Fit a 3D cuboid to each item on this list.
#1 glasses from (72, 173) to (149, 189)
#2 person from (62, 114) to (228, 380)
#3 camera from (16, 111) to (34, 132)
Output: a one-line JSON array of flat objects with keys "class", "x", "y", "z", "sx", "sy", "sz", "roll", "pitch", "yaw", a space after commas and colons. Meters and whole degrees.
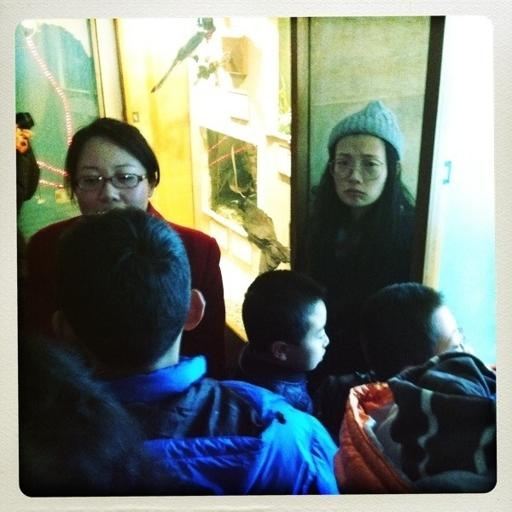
[{"class": "glasses", "x": -0.355, "y": -0.182, "z": 1.253, "sx": 0.158, "sy": 0.045, "sz": 0.030, "roll": 0, "pitch": 8, "yaw": -18}, {"class": "person", "x": -0.337, "y": 0.092, "z": 1.461, "sx": 0.430, "sy": 0.966, "sz": 0.279, "roll": -2, "pitch": 19, "yaw": -9}, {"class": "camera", "x": -0.564, "y": -0.328, "z": 1.254, "sx": 0.036, "sy": 0.044, "sz": 0.041, "roll": 7, "pitch": 2, "yaw": 3}]
